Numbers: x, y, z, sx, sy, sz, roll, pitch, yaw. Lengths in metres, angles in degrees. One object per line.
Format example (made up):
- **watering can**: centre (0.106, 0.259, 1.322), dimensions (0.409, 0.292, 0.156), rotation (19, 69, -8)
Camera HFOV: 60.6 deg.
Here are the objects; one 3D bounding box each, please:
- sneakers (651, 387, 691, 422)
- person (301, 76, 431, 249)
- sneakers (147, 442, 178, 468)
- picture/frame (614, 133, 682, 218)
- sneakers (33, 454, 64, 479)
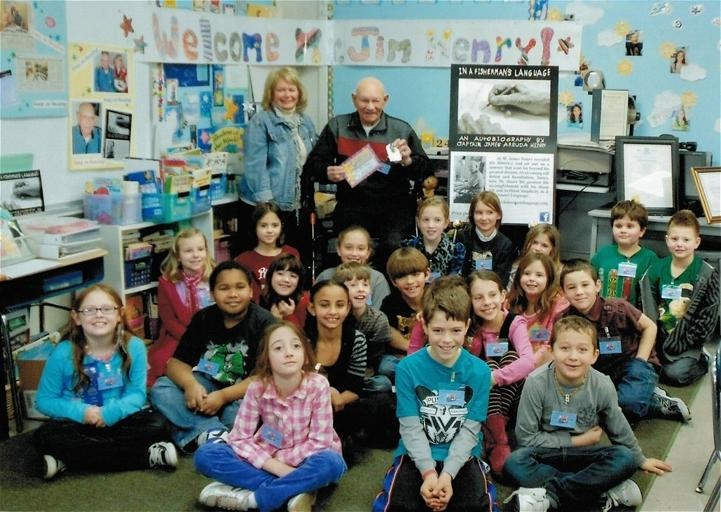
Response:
- **sneakers**: centre (1.846, 0.892, 3.677), dimensions (0.119, 0.089, 0.250), rotation (-6, 30, -36)
- **person**: centre (0.027, -0.462, 4.897), dimensions (1.007, 1.781, 0.809), rotation (4, 14, 10)
- **sneakers**: centre (-1.019, 1.031, 3.167), dimensions (0.099, 0.076, 0.211), rotation (-6, -1, -30)
- **picture/frame**: centre (2.235, -0.605, 4.789), dimensions (0.672, 0.845, 0.086), rotation (2, -11, 2)
- **sneakers**: centre (-1.578, 1.066, 3.148), dimensions (0.077, 0.064, 0.176), rotation (7, -9, -22)
